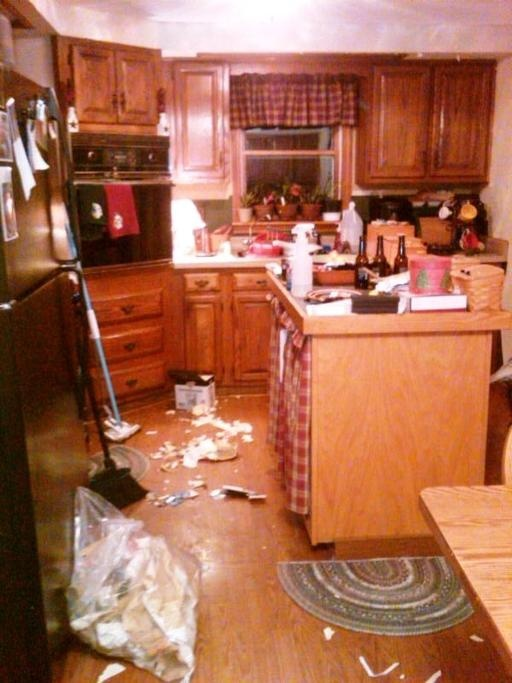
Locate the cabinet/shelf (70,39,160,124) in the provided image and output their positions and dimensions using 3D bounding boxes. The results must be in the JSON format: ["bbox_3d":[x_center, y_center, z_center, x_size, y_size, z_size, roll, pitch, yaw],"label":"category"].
[{"bbox_3d":[-0.908,-1.675,3.517,0.532,0.544,0.308,-10,20,-36],"label":"cabinet/shelf"}]

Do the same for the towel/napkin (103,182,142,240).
[{"bbox_3d":[-0.866,-0.854,3.489,0.091,0.311,0.295,9,12,40],"label":"towel/napkin"}]

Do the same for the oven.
[{"bbox_3d":[-1.062,-0.978,3.698,0.589,0.835,0.843,20,26,35],"label":"oven"}]

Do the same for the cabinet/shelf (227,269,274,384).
[{"bbox_3d":[-0.036,-0.117,4.060,0.332,0.765,0.331,-4,13,-14],"label":"cabinet/shelf"}]

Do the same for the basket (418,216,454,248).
[{"bbox_3d":[1.437,-0.869,4.323,0.323,0.216,0.333,-2,13,-4],"label":"basket"}]

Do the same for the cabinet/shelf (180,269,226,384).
[{"bbox_3d":[-0.391,-0.099,4.053,0.298,0.840,0.083,-1,9,-7],"label":"cabinet/shelf"}]

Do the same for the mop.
[{"bbox_3d":[-0.863,-0.089,2.881,0.250,1.487,0.325,-14,29,-16],"label":"mop"}]

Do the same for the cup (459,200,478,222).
[{"bbox_3d":[1.657,-0.996,4.156,0.116,0.165,0.111,2,2,0],"label":"cup"}]

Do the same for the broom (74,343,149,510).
[{"bbox_3d":[-0.649,0.381,2.510,0.346,0.775,0.325,2,15,-11],"label":"broom"}]

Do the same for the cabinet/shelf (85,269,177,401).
[{"bbox_3d":[-0.910,-0.127,3.853,0.517,0.924,0.462,-10,17,-37],"label":"cabinet/shelf"}]

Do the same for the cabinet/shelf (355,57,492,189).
[{"bbox_3d":[1.392,-1.721,4.338,0.946,0.953,0.381,2,6,9],"label":"cabinet/shelf"}]

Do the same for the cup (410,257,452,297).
[{"bbox_3d":[0.670,-0.248,2.074,0.140,0.138,0.142,0,7,0],"label":"cup"}]

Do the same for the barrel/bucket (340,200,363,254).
[{"bbox_3d":[0.749,-0.903,4.240,0.174,0.405,0.349,1,9,9],"label":"barrel/bucket"}]

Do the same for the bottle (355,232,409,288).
[{"bbox_3d":[0.621,-0.381,2.633,0.196,0.285,0.297,1,13,-7],"label":"bottle"}]
